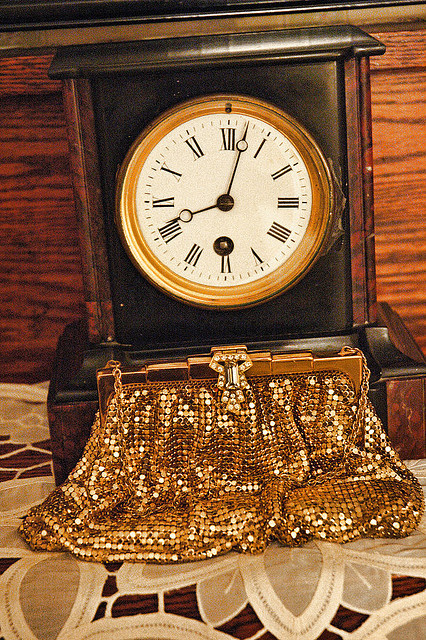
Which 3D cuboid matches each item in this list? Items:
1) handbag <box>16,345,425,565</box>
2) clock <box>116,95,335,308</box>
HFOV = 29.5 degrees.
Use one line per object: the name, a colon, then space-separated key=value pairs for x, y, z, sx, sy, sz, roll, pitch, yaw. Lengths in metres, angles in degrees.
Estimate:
handbag: x=0.014 y=0.212 z=1.192 sx=0.631 sy=0.295 sz=0.216 roll=-2 pitch=-52 yaw=0
clock: x=0.015 y=-0.194 z=1.235 sx=0.358 sy=0.046 sz=0.316 roll=0 pitch=-79 yaw=-1
